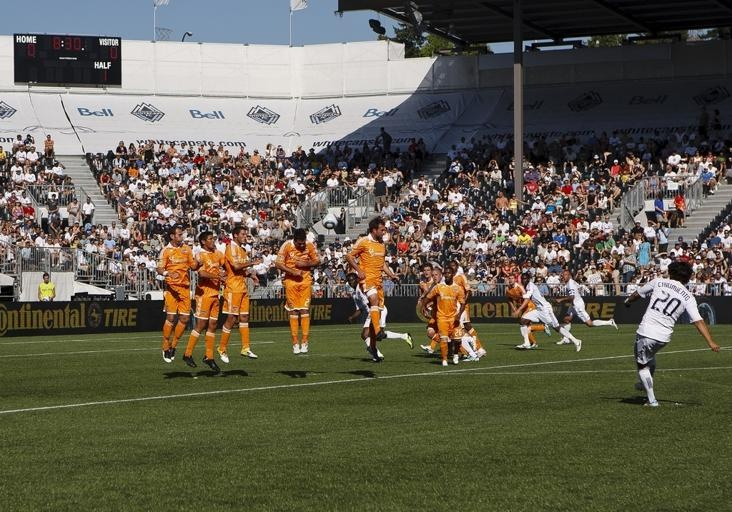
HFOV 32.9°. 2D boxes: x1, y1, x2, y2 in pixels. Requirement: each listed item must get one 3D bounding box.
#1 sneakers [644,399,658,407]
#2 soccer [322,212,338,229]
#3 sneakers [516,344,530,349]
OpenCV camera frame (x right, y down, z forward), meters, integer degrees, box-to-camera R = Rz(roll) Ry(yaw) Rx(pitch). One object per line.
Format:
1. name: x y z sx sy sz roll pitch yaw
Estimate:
1. sneakers: 6.540 3.301 27.688 0.332 0.167 0.282 2 13 13
2. soccer: -2.018 -1.430 52.637 0.518 0.511 0.661 26 20 -20
3. sneakers: 4.586 2.663 35.994 0.433 0.196 0.157 3 -3 -24
